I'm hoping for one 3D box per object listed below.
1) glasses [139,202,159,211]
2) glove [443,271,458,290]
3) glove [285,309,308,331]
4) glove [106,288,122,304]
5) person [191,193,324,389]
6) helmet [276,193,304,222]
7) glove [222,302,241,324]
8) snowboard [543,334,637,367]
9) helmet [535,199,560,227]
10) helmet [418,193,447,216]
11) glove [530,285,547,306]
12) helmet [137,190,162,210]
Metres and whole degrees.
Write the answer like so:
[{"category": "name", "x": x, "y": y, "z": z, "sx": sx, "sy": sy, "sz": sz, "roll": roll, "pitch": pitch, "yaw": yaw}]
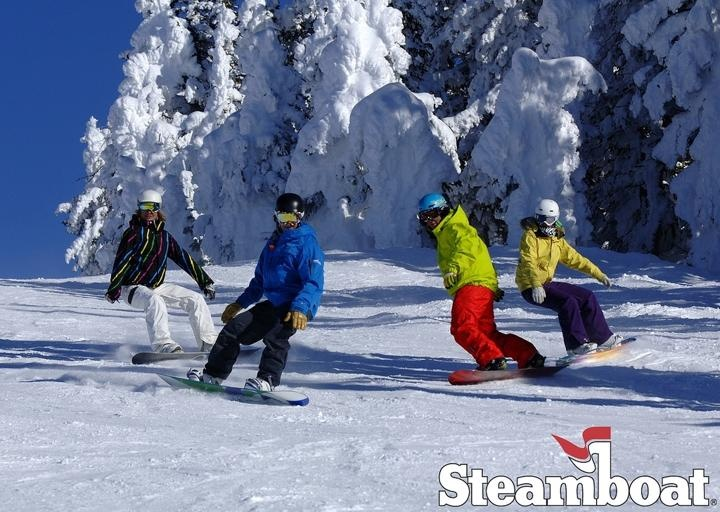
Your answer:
[{"category": "glasses", "x": -2.843, "y": -0.665, "z": 12.289, "sx": 0.251, "sy": 0.119, "sz": 0.120, "roll": -2, "pitch": 9, "yaw": -14}, {"category": "glove", "x": 1.145, "y": 0.311, "z": 11.561, "sx": 0.069, "sy": 0.202, "sz": 0.145, "roll": 15, "pitch": -25, "yaw": -40}, {"category": "glove", "x": -0.748, "y": 0.760, "z": 10.669, "sx": 0.266, "sy": 0.248, "sz": 0.224, "roll": 1, "pitch": 9, "yaw": 2}, {"category": "glove", "x": -3.266, "y": 0.522, "z": 12.125, "sx": 0.143, "sy": 0.211, "sz": 0.212, "roll": 21, "pitch": 2, "yaw": 3}, {"category": "person", "x": -1.132, "y": 0.454, "z": 10.879, "sx": 1.338, "sy": 2.353, "sz": 0.804, "roll": 0, "pitch": 9, "yaw": -4}, {"category": "helmet", "x": -0.837, "y": -0.588, "z": 11.018, "sx": 0.298, "sy": 0.329, "sz": 0.348, "roll": 5, "pitch": 20, "yaw": 3}, {"category": "glove", "x": -1.603, "y": 0.698, "z": 11.157, "sx": 0.303, "sy": 0.180, "sz": 0.073, "roll": -38, "pitch": 14, "yaw": -19}, {"category": "snowboard", "x": 3.092, "y": 1.267, "z": 12.136, "sx": 0.975, "sy": 0.141, "sz": 0.226, "roll": -11, "pitch": -26, "yaw": -26}, {"category": "helmet", "x": 2.535, "y": -0.602, "z": 12.240, "sx": 0.335, "sy": 0.437, "sz": 0.429, "roll": 6, "pitch": 9, "yaw": 18}, {"category": "helmet", "x": 0.958, "y": -0.680, "z": 11.856, "sx": 0.343, "sy": 0.300, "sz": 0.272, "roll": 10, "pitch": -13, "yaw": -18}, {"category": "glove", "x": 2.312, "y": 0.516, "z": 11.845, "sx": 0.157, "sy": 0.216, "sz": 0.065, "roll": -21, "pitch": -42, "yaw": 32}, {"category": "helmet", "x": -2.835, "y": -0.762, "z": 12.377, "sx": 0.260, "sy": 0.252, "sz": 0.297, "roll": 5, "pitch": 4, "yaw": -15}]
